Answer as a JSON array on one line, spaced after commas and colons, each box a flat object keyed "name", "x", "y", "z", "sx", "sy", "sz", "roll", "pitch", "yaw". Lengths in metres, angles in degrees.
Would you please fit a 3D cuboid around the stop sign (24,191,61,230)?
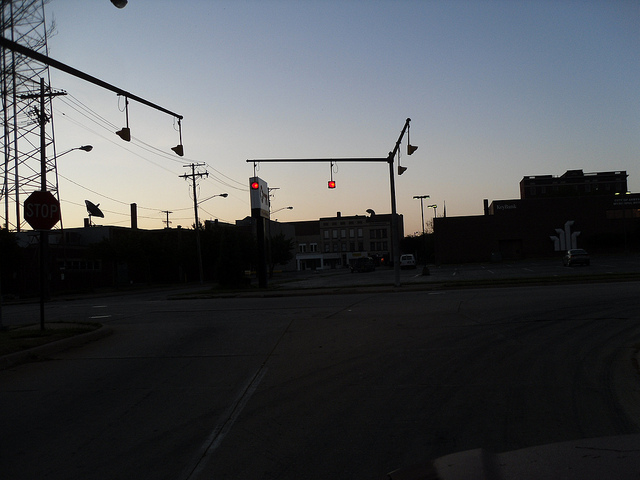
[{"name": "stop sign", "x": -7.609, "y": -0.821, "z": 15.543, "sx": 0.374, "sy": 1.055, "sz": 1.072, "roll": 0, "pitch": 3, "yaw": 31}]

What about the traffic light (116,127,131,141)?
[{"name": "traffic light", "x": -5.830, "y": -3.121, "z": 16.895, "sx": 0.314, "sy": 0.449, "sz": 0.883, "roll": -3, "pitch": 3, "yaw": -20}]

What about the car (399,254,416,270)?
[{"name": "car", "x": 10.500, "y": 2.535, "z": 68.744, "sx": 1.624, "sy": 1.743, "sz": 3.687, "roll": -2, "pitch": 3, "yaw": 7}]
